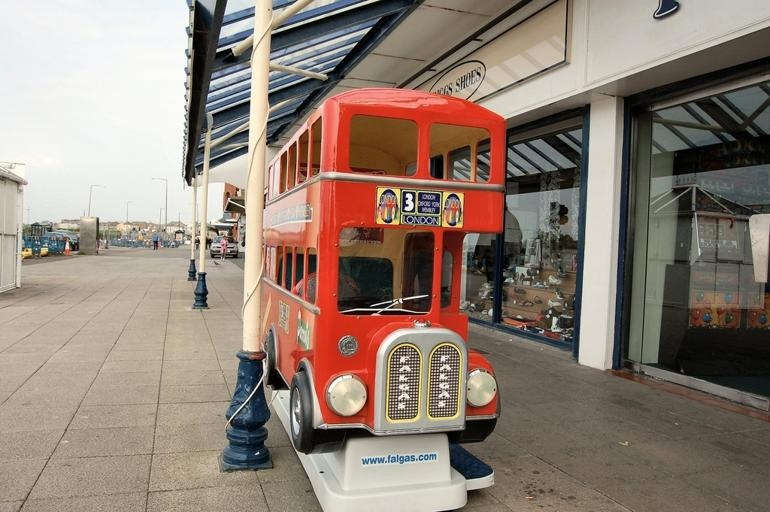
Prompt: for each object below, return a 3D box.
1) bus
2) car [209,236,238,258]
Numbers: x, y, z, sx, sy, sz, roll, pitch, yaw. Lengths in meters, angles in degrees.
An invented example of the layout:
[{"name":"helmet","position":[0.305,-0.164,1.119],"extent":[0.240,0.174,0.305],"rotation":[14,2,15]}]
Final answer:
[{"name":"bus","position":[-0.091,0.091,6.539],"extent":[2.974,3.531,1.991],"rotation":[1,0,8]},{"name":"car","position":[-14.635,-0.841,48.721],"extent":[2.055,1.574,4.567],"rotation":[0,-3,-18]}]
